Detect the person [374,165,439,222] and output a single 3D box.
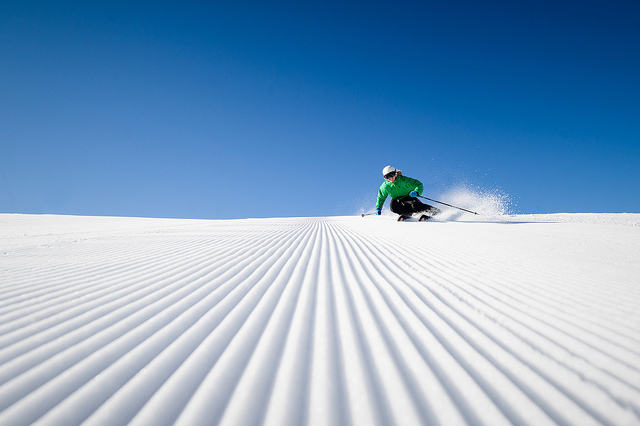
[{"bbox_3d":[2.334,-0.360,12.155,1.195,0.830,2.530,-19,-54,25],"label":"person"}]
